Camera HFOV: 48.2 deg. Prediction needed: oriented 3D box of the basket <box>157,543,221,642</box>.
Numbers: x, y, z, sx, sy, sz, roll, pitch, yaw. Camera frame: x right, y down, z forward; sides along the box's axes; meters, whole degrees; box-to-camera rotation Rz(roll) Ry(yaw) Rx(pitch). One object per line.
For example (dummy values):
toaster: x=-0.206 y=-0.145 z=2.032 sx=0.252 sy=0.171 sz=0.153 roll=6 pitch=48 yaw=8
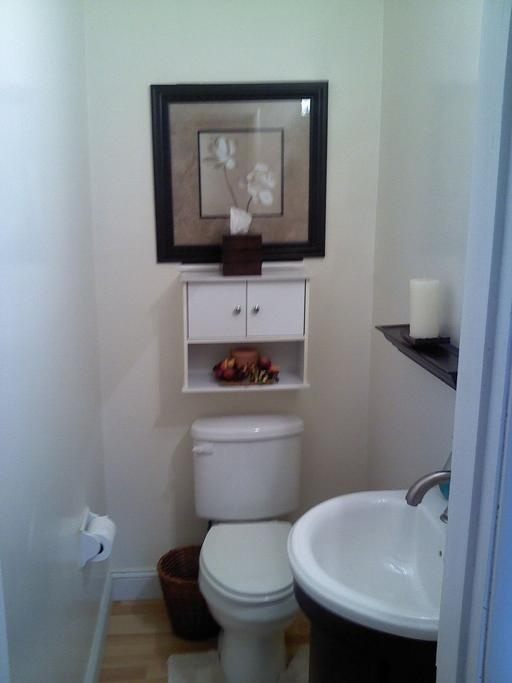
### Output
basket: x=-0.250 y=0.896 z=2.140 sx=0.201 sy=0.279 sz=0.273 roll=1 pitch=11 yaw=4

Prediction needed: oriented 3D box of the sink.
sink: x=0.234 y=0.455 z=1.227 sx=0.315 sy=0.148 sz=0.478 roll=6 pitch=19 yaw=22

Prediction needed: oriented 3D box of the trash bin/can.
trash bin/can: x=-0.251 y=0.897 z=2.139 sx=0.195 sy=0.285 sz=0.277 roll=1 pitch=11 yaw=1

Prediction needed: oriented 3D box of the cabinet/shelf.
cabinet/shelf: x=-0.051 y=-0.042 z=1.976 sx=0.271 sy=0.393 sz=0.132 roll=-1 pitch=11 yaw=-2

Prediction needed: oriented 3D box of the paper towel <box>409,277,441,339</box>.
paper towel: x=0.403 y=-0.076 z=1.367 sx=0.066 sy=0.137 sz=0.048 roll=1 pitch=13 yaw=5

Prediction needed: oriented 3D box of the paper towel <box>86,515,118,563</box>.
paper towel: x=-0.481 y=0.598 z=1.767 sx=0.087 sy=0.126 sz=0.151 roll=-4 pitch=16 yaw=-14

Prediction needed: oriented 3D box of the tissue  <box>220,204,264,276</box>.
tissue : x=-0.052 y=-0.361 z=1.973 sx=0.155 sy=0.399 sz=0.176 roll=0 pitch=12 yaw=-3

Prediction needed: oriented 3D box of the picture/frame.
picture/frame: x=-0.055 y=-0.584 z=2.047 sx=0.566 sy=0.040 sz=0.761 roll=-2 pitch=-33 yaw=-2
